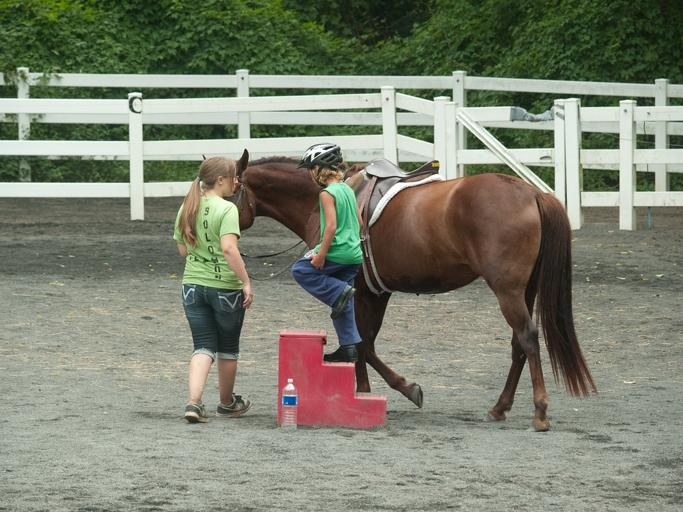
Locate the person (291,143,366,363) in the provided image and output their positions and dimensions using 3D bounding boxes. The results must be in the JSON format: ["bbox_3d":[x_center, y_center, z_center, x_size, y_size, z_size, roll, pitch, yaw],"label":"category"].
[{"bbox_3d":[-0.137,-0.037,16.104,0.689,2.349,0.456,-1,7,3],"label":"person"}]

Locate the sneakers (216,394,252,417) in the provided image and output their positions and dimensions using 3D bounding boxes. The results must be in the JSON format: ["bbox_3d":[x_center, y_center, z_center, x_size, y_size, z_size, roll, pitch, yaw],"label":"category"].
[{"bbox_3d":[-1.154,1.615,16.094,0.449,0.212,0.171,-8,12,-36],"label":"sneakers"}]

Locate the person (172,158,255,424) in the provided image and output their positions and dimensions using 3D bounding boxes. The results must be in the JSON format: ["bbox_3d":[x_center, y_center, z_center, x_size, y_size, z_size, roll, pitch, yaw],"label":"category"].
[{"bbox_3d":[-1.384,0.331,16.043,0.788,2.776,0.875,-2,7,-6],"label":"person"}]

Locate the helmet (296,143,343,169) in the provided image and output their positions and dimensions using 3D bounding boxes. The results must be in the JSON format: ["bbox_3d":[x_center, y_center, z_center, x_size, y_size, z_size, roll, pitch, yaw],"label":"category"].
[{"bbox_3d":[-0.236,-1.076,16.075,0.371,0.177,0.268,-6,-4,23],"label":"helmet"}]

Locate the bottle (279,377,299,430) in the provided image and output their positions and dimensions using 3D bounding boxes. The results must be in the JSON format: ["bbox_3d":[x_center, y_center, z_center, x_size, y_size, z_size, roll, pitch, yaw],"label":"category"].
[{"bbox_3d":[-0.575,1.556,15.860,0.185,0.508,0.210,-1,7,3],"label":"bottle"}]

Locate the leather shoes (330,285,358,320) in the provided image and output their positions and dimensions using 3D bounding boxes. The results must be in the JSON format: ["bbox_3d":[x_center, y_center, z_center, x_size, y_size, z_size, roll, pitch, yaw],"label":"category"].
[{"bbox_3d":[0.007,0.475,15.942,0.194,0.431,0.161,28,27,-4],"label":"leather shoes"}]
